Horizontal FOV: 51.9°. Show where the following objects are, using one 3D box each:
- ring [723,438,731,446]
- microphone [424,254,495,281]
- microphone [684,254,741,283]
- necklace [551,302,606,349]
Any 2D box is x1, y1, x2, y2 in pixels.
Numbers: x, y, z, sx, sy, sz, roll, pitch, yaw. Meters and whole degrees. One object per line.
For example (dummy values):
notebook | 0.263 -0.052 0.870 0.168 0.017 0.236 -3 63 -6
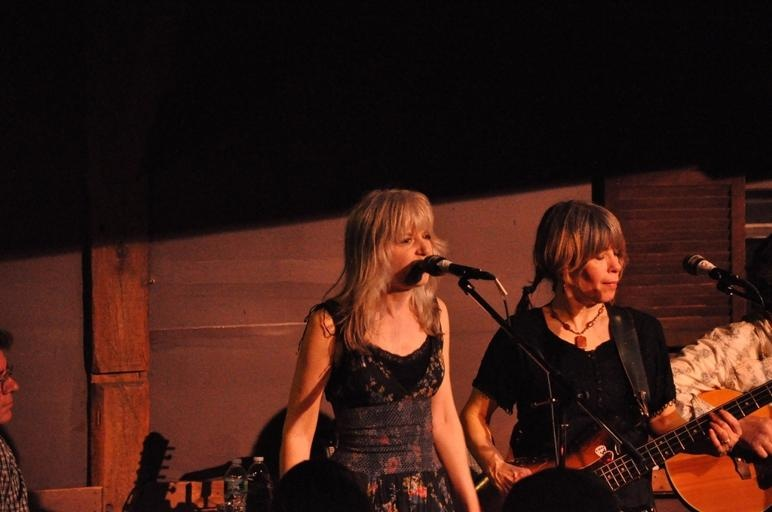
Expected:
ring | 2.201 1.201 5.079 0.042 0.040 0.010 0 -3 6
microphone | 0.372 0.055 4.318 0.440 0.125 0.147 4 7 41
microphone | 1.960 0.074 4.818 0.188 0.193 0.232 4 -20 -25
necklace | 1.240 0.465 5.109 0.280 0.100 0.263 -32 30 -30
